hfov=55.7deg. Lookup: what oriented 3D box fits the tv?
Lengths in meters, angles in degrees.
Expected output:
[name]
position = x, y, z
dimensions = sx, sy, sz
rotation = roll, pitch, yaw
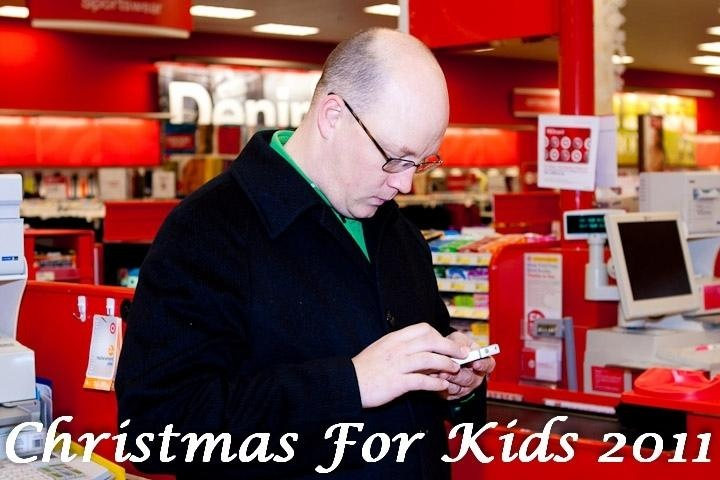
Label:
[tv]
position = 1.439, 0.114, 3.363
dimensions = 0.561, 0.501, 0.213
rotation = -2, 5, -33
